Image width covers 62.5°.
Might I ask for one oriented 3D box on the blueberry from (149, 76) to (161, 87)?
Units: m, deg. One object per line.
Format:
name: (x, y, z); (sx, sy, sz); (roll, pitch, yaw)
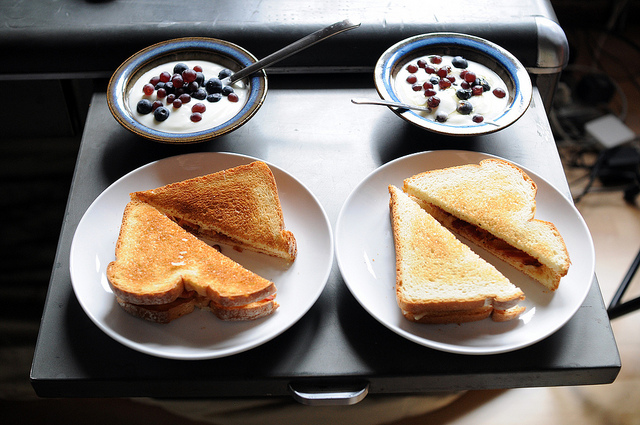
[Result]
blueberry: (-0.553, -0.443, 1.776); (0.030, 0.020, 0.036); (0, 37, 10)

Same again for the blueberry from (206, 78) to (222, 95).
blueberry: (-0.360, -0.418, 1.799); (0.057, 0.057, 0.042); (7, 58, -27)

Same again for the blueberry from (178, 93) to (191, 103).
blueberry: (-0.445, -0.376, 1.742); (0.030, 0.017, 0.029); (-25, 58, -18)

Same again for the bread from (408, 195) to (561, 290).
bread: (0.501, 0.097, 1.576); (0.441, 0.054, 0.039); (36, 107, 26)

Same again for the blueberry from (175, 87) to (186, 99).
blueberry: (-0.468, -0.394, 1.752); (0.033, 0.018, 0.033); (0, 84, -4)

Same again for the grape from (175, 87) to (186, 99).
grape: (-0.464, -0.395, 1.750); (0.030, 0.029, 0.016); (-2, 58, -28)

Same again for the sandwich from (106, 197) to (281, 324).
sandwich: (-0.370, 0.116, 1.458); (0.338, 0.088, 0.341); (-1, 44, -8)

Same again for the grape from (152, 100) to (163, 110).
grape: (-0.531, -0.352, 1.726); (0.030, 0.016, 0.030); (8, 60, 2)

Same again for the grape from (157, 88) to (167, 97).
grape: (-0.522, -0.394, 1.741); (0.026, 0.014, 0.026); (11, 80, -2)

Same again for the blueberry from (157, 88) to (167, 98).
blueberry: (-0.520, -0.394, 1.741); (0.026, 0.026, 0.026); (-7, 90, 0)

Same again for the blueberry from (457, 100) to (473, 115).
blueberry: (0.482, -0.351, 1.751); (0.051, 0.023, 0.056); (5, 75, 0)

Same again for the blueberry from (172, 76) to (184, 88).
blueberry: (-0.472, -0.435, 1.759); (0.034, 0.019, 0.034); (18, 75, -7)

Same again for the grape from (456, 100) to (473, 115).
grape: (0.478, -0.345, 1.743); (0.046, 0.024, 0.046); (-7, 67, 5)

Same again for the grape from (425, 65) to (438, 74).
grape: (0.387, -0.502, 1.848); (0.041, 0.012, 0.040); (-10, 75, -5)

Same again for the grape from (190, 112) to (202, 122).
grape: (-0.401, -0.310, 1.713); (0.028, 0.016, 0.028); (7, 61, 5)

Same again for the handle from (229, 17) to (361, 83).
handle: (-0.095, -0.586, 1.872); (0.536, 0.036, 0.058); (-27, 78, 1)

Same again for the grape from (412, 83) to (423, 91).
grape: (0.333, -0.427, 1.803); (0.033, 0.012, 0.031); (10, 75, 1)

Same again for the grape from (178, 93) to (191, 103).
grape: (-0.444, -0.377, 1.742); (0.026, 0.018, 0.032); (-6, 40, -4)

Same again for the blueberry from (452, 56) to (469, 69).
blueberry: (0.496, -0.531, 1.868); (0.054, 0.028, 0.060); (8, 75, 1)

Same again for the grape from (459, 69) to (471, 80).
grape: (0.499, -0.482, 1.837); (0.023, 0.012, 0.038); (9, 42, 14)

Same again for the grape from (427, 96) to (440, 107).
grape: (0.377, -0.366, 1.750); (0.026, 0.012, 0.037); (2, 43, 6)

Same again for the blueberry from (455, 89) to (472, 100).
blueberry: (0.483, -0.395, 1.768); (0.039, 0.031, 0.022); (-19, 35, 22)

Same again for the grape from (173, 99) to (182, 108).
grape: (-0.466, -0.356, 1.727); (0.024, 0.017, 0.025); (4, 50, -2)

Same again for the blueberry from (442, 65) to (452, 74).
blueberry: (0.452, -0.501, 1.844); (0.023, 0.008, 0.031); (2, 74, -9)

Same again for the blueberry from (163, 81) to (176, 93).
blueberry: (-0.499, -0.414, 1.752); (0.033, 0.018, 0.033); (32, 66, -9)

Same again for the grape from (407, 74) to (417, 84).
grape: (0.319, -0.459, 1.823); (0.033, 0.010, 0.036); (32, 76, 7)

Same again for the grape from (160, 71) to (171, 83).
grape: (-0.520, -0.452, 1.773); (0.029, 0.020, 0.036); (2, 95, -5)

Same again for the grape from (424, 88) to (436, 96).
grape: (0.372, -0.404, 1.778); (0.038, 0.016, 0.030); (6, 75, 0)

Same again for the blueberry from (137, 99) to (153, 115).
blueberry: (-0.567, -0.340, 1.707); (0.047, 0.044, 0.047); (0, 86, 8)

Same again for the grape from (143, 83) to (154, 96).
grape: (-0.567, -0.407, 1.748); (0.033, 0.018, 0.033); (8, 74, -1)

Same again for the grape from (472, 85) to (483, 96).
grape: (0.532, -0.415, 1.784); (0.037, 0.015, 0.031); (-4, 75, -3)

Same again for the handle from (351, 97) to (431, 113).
handle: (0.247, -0.359, 1.770); (0.252, 0.030, 0.045); (11, 107, -2)

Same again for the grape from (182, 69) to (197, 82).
grape: (-0.437, -0.456, 1.766); (0.044, 0.036, 0.035); (3, 95, 24)

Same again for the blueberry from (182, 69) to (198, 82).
blueberry: (-0.436, -0.455, 1.767); (0.036, 0.045, 0.035); (-3, 95, -44)

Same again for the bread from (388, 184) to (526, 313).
bread: (0.321, 0.118, 1.611); (0.361, 0.078, 0.546); (-10, 43, -22)

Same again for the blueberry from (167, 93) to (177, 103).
blueberry: (-0.487, -0.379, 1.740); (0.030, 0.013, 0.037); (9, 74, 1)

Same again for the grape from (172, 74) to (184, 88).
grape: (-0.472, -0.436, 1.758); (0.029, 0.038, 0.030); (-1, 88, -9)

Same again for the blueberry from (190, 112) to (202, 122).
blueberry: (-0.401, -0.308, 1.712); (0.028, 0.017, 0.029); (0, 49, -1)

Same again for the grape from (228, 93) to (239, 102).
grape: (-0.289, -0.384, 1.763); (0.033, 0.011, 0.033); (1, 75, -2)

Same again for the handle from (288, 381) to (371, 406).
handle: (0.025, 0.491, 1.442); (0.268, 0.057, 0.081); (2, 54, 0)

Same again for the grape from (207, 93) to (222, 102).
grape: (-0.351, -0.381, 1.755); (0.035, 0.012, 0.026); (-11, 52, 5)

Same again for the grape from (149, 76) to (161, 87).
grape: (-0.553, -0.441, 1.777); (0.030, 0.020, 0.036); (3, 37, 11)

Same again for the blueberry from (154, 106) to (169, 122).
blueberry: (-0.514, -0.317, 1.707); (0.044, 0.016, 0.049); (24, 75, 5)

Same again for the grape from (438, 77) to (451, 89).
grape: (0.426, -0.441, 1.795); (0.043, 0.017, 0.037); (-14, 76, -6)

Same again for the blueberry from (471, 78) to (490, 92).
blueberry: (0.550, -0.440, 1.802); (0.063, 0.019, 0.039); (25, 60, 2)

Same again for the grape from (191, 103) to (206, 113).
grape: (-0.397, -0.344, 1.735); (0.043, 0.017, 0.042); (-4, 75, -3)
